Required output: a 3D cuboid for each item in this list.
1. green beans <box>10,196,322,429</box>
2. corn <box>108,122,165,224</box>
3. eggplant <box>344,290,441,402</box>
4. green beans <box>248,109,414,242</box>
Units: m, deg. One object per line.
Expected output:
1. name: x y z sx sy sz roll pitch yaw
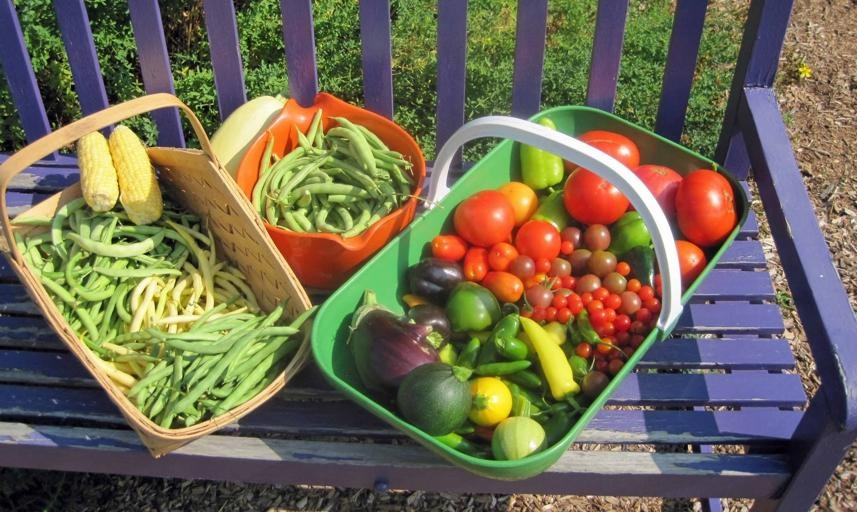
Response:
1. green beans: -1.009 0.251 2.557 0.983 0.307 0.702 43 65 10
2. corn: -1.058 -0.284 2.496 0.138 0.403 0.132 -19 -5 -16
3. eggplant: -0.147 0.317 2.240 0.336 0.249 0.206 25 39 29
4. green beans: -0.343 -0.281 2.574 0.556 0.436 0.600 21 39 30
